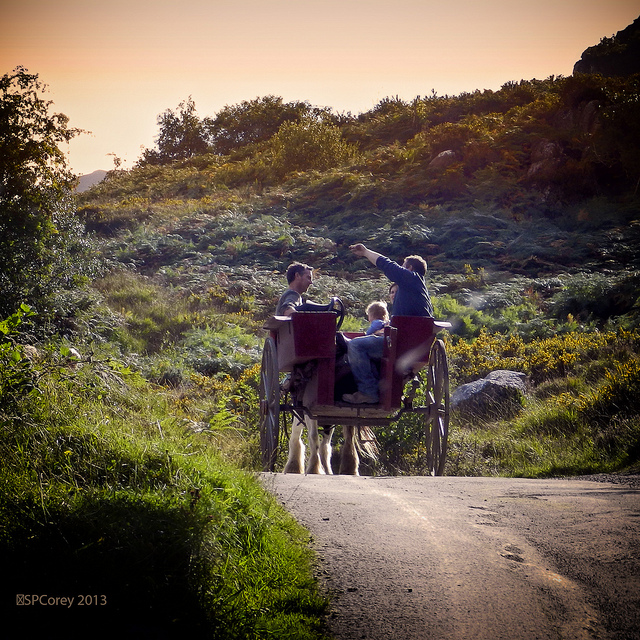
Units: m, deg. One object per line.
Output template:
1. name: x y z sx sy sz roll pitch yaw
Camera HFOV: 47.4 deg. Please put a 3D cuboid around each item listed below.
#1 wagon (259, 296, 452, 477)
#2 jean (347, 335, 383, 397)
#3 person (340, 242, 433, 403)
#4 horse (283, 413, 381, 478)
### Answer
1. wagon: 0.338 0.637 7.935 1.737 2.113 2.796 0 1 0
2. jean: 0.413 0.469 7.028 0.364 0.848 0.477 -1 -6 3
3. person: 0.660 0.071 7.476 0.809 1.679 0.891 5 -11 23
4. horse: 0.013 1.362 7.934 0.572 0.802 1.095 3 -17 -18
